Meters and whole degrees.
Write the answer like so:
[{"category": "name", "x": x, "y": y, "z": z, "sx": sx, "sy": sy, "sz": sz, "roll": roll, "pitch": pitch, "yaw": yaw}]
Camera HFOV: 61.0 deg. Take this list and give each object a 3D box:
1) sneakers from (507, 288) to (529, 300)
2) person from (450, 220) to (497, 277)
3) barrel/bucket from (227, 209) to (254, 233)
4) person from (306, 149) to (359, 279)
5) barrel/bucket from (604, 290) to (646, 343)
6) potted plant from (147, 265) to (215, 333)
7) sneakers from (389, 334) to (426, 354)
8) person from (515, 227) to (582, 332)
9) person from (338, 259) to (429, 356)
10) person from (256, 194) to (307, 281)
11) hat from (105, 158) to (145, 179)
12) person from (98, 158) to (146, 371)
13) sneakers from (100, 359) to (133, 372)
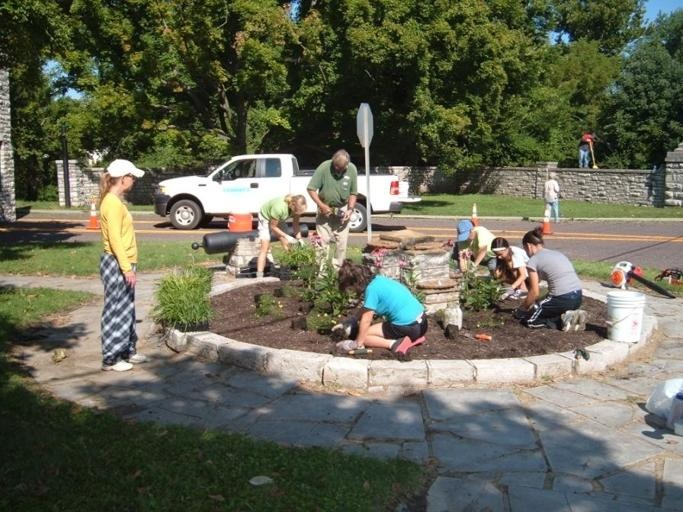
[{"category": "sneakers", "x": 2.687, "y": 0.606, "z": 8.867, "sx": 0.360, "sy": 0.134, "sz": 0.117, "roll": 0, "pitch": 8, "yaw": -26}, {"category": "person", "x": 2.252, "y": -0.080, "z": 9.816, "sx": 0.761, "sy": 0.956, "sz": 1.067, "roll": -6, "pitch": -1, "yaw": 38}, {"category": "barrel/bucket", "x": -2.015, "y": -0.669, "z": 11.799, "sx": 0.558, "sy": 0.372, "sz": 0.548, "roll": 0, "pitch": -3, "yaw": 0}, {"category": "person", "x": -0.111, "y": -0.719, "z": 9.694, "sx": 0.870, "sy": 2.194, "sz": 0.889, "roll": -12, "pitch": 34, "yaw": -20}, {"category": "barrel/bucket", "x": 3.650, "y": 0.759, "z": 7.371, "sx": 0.607, "sy": 0.636, "sz": 0.589, "roll": -2, "pitch": 7, "yaw": 0}, {"category": "potted plant", "x": -2.014, "y": 0.475, "z": 7.514, "sx": 0.827, "sy": 0.514, "sz": 0.653, "roll": -2, "pitch": -8, "yaw": -25}, {"category": "sneakers", "x": 0.765, "y": 1.033, "z": 6.793, "sx": 0.438, "sy": 0.175, "sz": 0.149, "roll": -8, "pitch": -25, "yaw": -45}, {"category": "person", "x": 2.719, "y": 0.280, "z": 7.672, "sx": 0.805, "sy": 1.286, "sz": 0.522, "roll": -1, "pitch": 7, "yaw": 15}, {"category": "person", "x": 0.514, "y": 0.642, "z": 7.075, "sx": 1.128, "sy": 1.121, "sz": 0.851, "roll": 0, "pitch": 4, "yaw": 21}, {"category": "person", "x": -1.087, "y": -0.353, "z": 10.236, "sx": 0.903, "sy": 1.409, "sz": 1.292, "roll": -4, "pitch": 7, "yaw": -9}, {"category": "hat", "x": -2.390, "y": -0.971, "z": 6.492, "sx": 0.416, "sy": 0.167, "sz": 0.273, "roll": -4, "pitch": 13, "yaw": -32}, {"category": "person", "x": -2.486, "y": 0.118, "z": 6.565, "sx": 0.608, "sy": 2.368, "sz": 0.531, "roll": -8, "pitch": 9, "yaw": -36}, {"category": "sneakers", "x": -2.544, "y": 1.245, "z": 6.593, "sx": 0.300, "sy": 0.126, "sz": 0.123, "roll": -1, "pitch": 5, "yaw": -6}]
